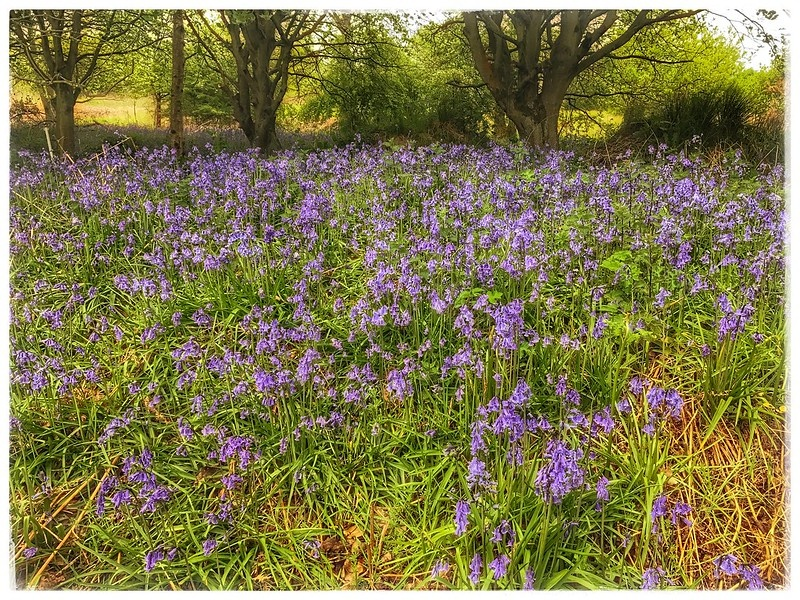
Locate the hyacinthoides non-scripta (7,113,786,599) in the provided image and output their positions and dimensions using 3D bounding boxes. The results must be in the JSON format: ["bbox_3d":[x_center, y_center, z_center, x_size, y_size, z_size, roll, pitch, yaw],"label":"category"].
[{"bbox_3d":[-0.065,0.397,6.279,7.690,3.261,3.922,2,15,7],"label":"hyacinthoides non-scripta"}]
